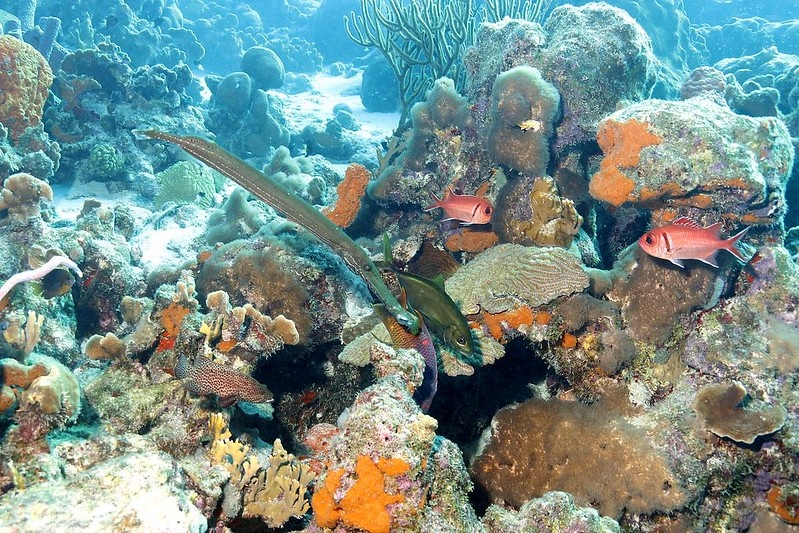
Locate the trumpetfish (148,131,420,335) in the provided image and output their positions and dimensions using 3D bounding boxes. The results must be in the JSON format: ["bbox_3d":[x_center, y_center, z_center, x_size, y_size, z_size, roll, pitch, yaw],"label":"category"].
[{"bbox_3d":[-1.730,-0.892,11.908,5.227,0.691,0.440,38,63,19],"label":"trumpetfish"}]

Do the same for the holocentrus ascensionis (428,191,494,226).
[{"bbox_3d":[1.133,-0.973,13.440,1.070,0.744,0.345,11,45,23],"label":"holocentrus ascensionis"}]
